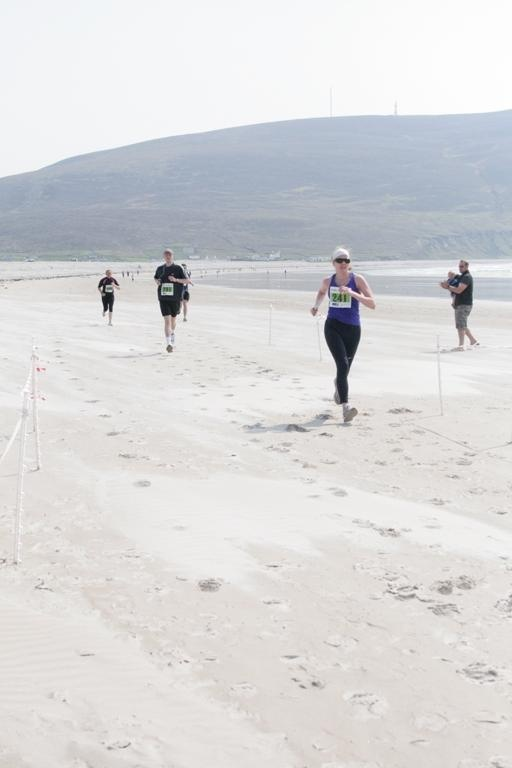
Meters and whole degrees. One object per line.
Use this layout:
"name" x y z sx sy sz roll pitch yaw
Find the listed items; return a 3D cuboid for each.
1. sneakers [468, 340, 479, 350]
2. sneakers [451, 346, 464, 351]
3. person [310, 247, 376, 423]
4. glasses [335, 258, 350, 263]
"sneakers" 3.835 -0.689 13.725 0.122 0.131 0.324 -4 3 13
"sneakers" 3.368 -0.588 13.062 0.290 0.107 0.095 -1 4 -2
"person" 0.826 -0.496 7.620 0.575 1.660 0.924 1 4 1
"glasses" 0.827 -1.173 7.369 0.147 0.046 0.093 -1 5 -21
